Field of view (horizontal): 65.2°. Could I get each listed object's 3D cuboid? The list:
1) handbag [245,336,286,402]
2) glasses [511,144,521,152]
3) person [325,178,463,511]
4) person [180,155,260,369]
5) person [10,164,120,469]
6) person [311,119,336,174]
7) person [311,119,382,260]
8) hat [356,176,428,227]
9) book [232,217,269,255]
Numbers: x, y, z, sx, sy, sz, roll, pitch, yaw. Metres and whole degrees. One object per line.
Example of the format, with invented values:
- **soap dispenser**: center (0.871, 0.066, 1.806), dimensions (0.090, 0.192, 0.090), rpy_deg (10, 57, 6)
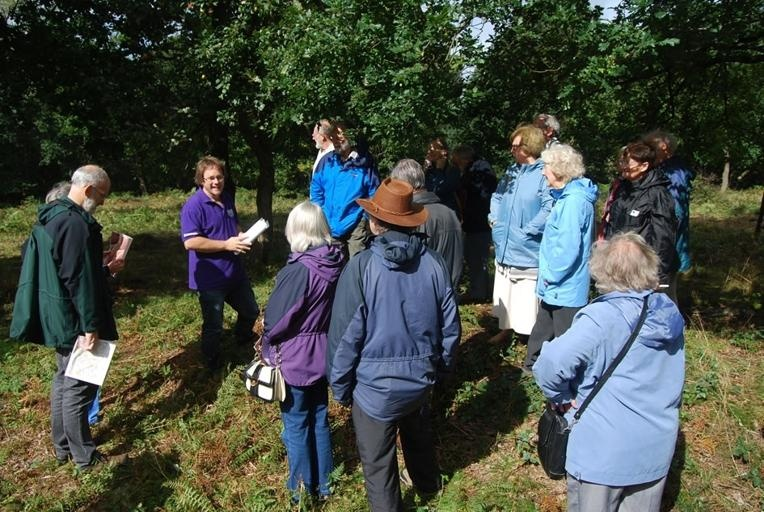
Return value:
- **handbag**: center (-1.269, 1.278, 6.518), dimensions (0.460, 0.634, 0.235), rpy_deg (7, 15, 27)
- **glasses**: center (1.821, -1.470, 8.120), dimensions (0.115, 0.037, 0.113), rpy_deg (12, 9, -19)
- **person**: center (0.102, 1.046, 6.207), dimensions (1.139, 3.470, 0.834), rpy_deg (-12, 18, -42)
- **person**: center (-2.256, 0.126, 8.438), dimensions (0.878, 2.991, 0.832), rpy_deg (0, 13, -3)
- **person**: center (-3.704, 0.741, 7.110), dimensions (1.087, 3.537, 0.954), rpy_deg (-5, 14, -23)
- **person**: center (-0.840, -1.630, 8.871), dimensions (0.344, 0.651, 0.756), rpy_deg (0, 6, -3)
- **person**: center (-0.507, -0.433, 8.650), dimensions (1.039, 3.048, 0.777), rpy_deg (-2, -21, -9)
- **hat**: center (0.093, -0.428, 6.212), dimensions (0.571, 0.227, 0.535), rpy_deg (35, 28, 17)
- **book**: center (-1.722, -0.259, 8.006), dimensions (0.432, 0.106, 0.426), rpy_deg (-47, 16, -33)
